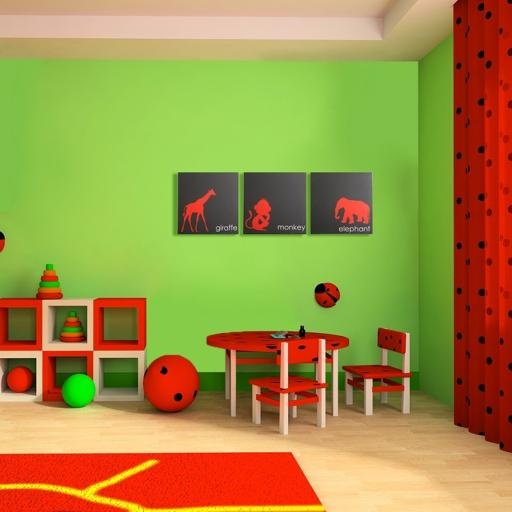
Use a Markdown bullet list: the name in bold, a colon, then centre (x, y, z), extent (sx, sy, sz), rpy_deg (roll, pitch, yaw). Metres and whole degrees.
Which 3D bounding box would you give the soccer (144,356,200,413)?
- **soccer**: centre (-0.666, 0.982, 4.121), extent (0.396, 0.452, 0.409), rpy_deg (7, -6, -11)

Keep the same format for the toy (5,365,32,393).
- **toy**: centre (-2.013, 1.043, 4.423), extent (0.195, 0.264, 0.209), rpy_deg (-2, -6, 5)

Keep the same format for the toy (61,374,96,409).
- **toy**: centre (-1.428, 1.100, 4.175), extent (0.233, 0.307, 0.248), rpy_deg (2, 0, 6)

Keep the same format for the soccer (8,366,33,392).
- **soccer**: centre (-1.985, 1.044, 4.427), extent (0.194, 0.255, 0.207), rpy_deg (-1, -8, -5)

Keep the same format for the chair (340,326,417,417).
- **chair**: centre (0.987, 0.927, 4.252), extent (0.384, 0.689, 0.510), rpy_deg (3, -3, -11)

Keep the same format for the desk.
- **desk**: centre (0.177, 0.789, 4.109), extent (0.753, 0.441, 0.797), rpy_deg (2, -3, -14)

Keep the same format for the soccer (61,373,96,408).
- **soccer**: centre (-1.426, 1.097, 4.178), extent (0.239, 0.310, 0.251), rpy_deg (2, 4, -25)

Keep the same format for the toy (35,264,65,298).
- **toy**: centre (-1.794, 0.229, 4.484), extent (0.295, 0.325, 0.298), rpy_deg (2, -7, -39)

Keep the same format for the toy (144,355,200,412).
- **toy**: centre (-0.663, 0.999, 4.121), extent (0.395, 0.451, 0.408), rpy_deg (7, -5, -11)

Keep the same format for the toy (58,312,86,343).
- **toy**: centre (-1.570, 0.605, 4.465), extent (0.224, 0.279, 0.233), rpy_deg (0, 0, 11)
